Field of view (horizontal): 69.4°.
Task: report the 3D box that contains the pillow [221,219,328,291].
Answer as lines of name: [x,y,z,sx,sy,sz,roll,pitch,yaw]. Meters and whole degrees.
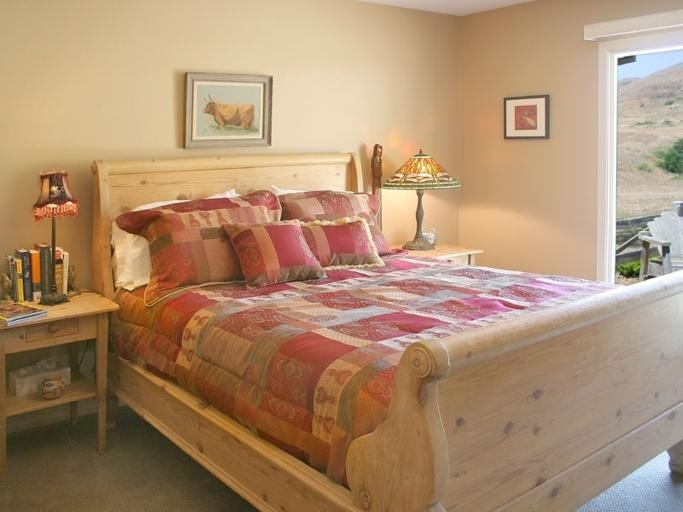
pillow: [-0.281,0.061,2.900,0.507,0.459,0.128,-16,-13,10]

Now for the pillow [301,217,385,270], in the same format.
pillow: [0.023,-0.110,3.169,0.502,0.328,0.142,-1,-26,-35]

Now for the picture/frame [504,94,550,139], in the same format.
picture/frame: [1.654,-1.237,4.372,0.036,0.378,0.472,-5,6,-44]

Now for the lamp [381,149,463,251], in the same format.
lamp: [0.695,-0.477,4.343,0.756,0.768,0.702,-2,6,-8]

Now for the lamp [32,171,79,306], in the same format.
lamp: [-1.599,-0.097,2.760,0.263,0.718,0.269,-4,-4,43]
